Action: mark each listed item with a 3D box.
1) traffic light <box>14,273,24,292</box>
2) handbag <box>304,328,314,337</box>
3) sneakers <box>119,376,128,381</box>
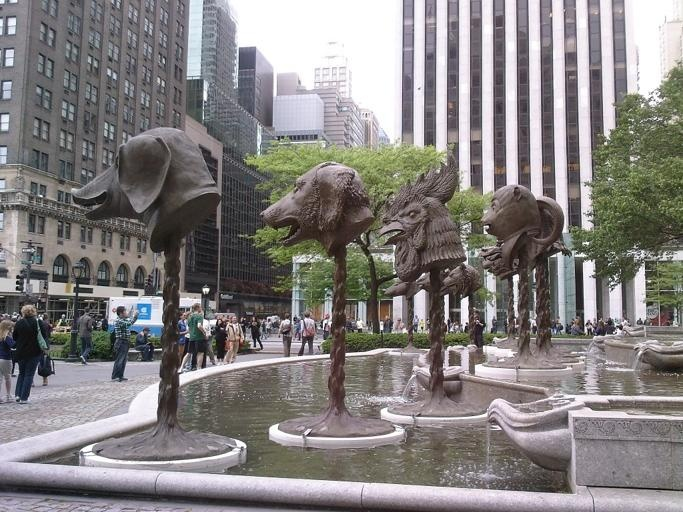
[{"bbox_3d":[-15.721,1.298,32.854,0.286,0.861,2.247,2,-5,-24],"label":"traffic light"},{"bbox_3d":[-1.350,3.219,28.422,0.264,0.367,0.342,-2,-3,13],"label":"handbag"},{"bbox_3d":[-6.311,3.543,19.426,0.186,0.083,0.247,0,-6,-12],"label":"sneakers"}]
